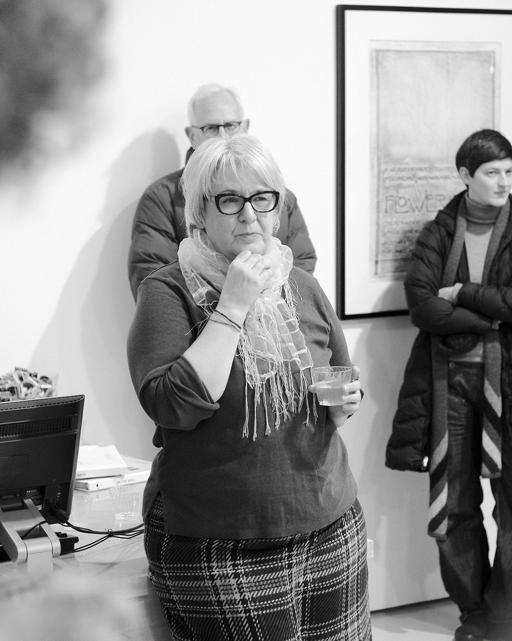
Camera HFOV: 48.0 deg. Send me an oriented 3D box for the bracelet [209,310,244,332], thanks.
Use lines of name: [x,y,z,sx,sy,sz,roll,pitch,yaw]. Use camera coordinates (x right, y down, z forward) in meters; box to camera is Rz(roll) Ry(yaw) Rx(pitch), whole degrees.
bracelet: [-0.043,0.001,0.836,0.036,0.017,0.032,38,3,17]

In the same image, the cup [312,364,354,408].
cup: [0.123,0.106,0.934,0.064,0.057,0.069,0,-7,0]

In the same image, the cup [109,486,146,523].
cup: [-0.304,0.439,1.364,0.061,0.071,0.062,2,-7,0]
